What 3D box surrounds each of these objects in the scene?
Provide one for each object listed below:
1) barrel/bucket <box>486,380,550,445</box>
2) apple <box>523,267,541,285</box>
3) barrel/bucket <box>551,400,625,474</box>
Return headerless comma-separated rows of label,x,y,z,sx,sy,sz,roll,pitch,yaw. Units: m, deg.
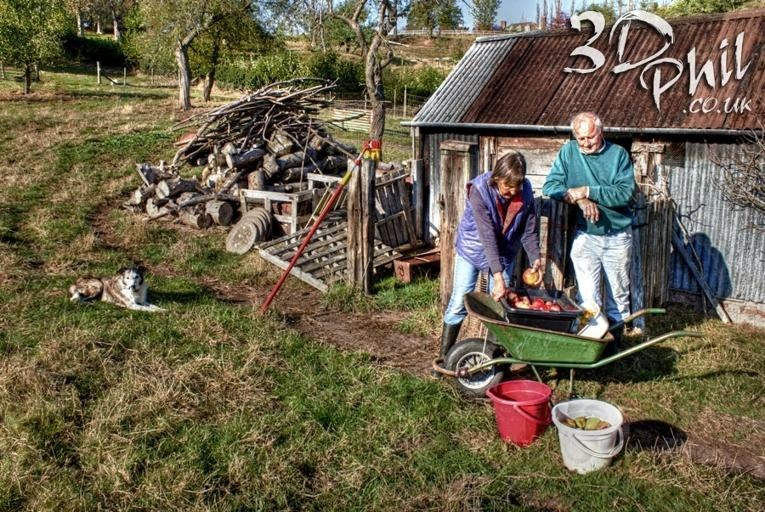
barrel/bucket,1.880,2.190,9.755,0.857,0.748,0.507,4,16,9
apple,2.161,0.312,10.200,0.252,0.274,0.180,5,16,12
barrel/bucket,2.787,2.453,9.635,0.740,1.104,0.966,0,5,-9
